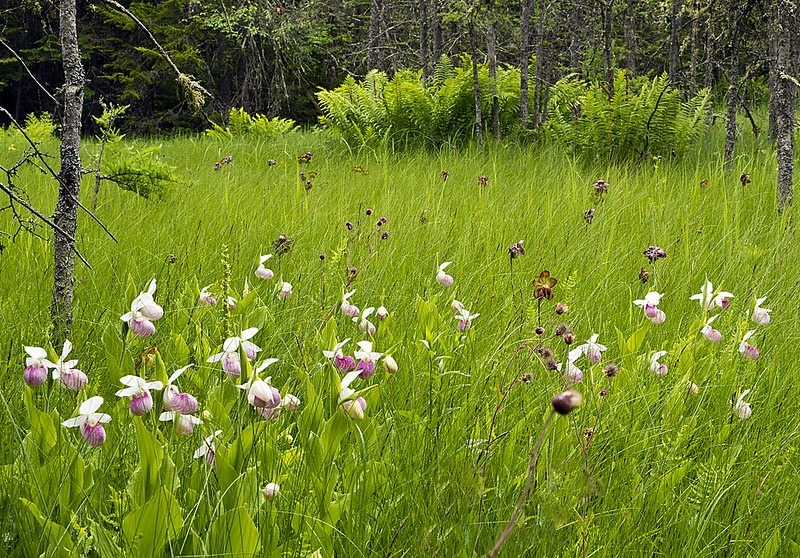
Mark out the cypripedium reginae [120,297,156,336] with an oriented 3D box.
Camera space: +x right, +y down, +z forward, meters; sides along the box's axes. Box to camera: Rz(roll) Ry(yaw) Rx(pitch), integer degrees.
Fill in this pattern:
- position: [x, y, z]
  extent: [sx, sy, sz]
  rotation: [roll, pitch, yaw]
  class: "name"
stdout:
- position: [-1.092, 0.159, 3.141]
  extent: [0.078, 0.047, 0.112]
  rotation: [-29, -11, -39]
  class: "cypripedium reginae"
